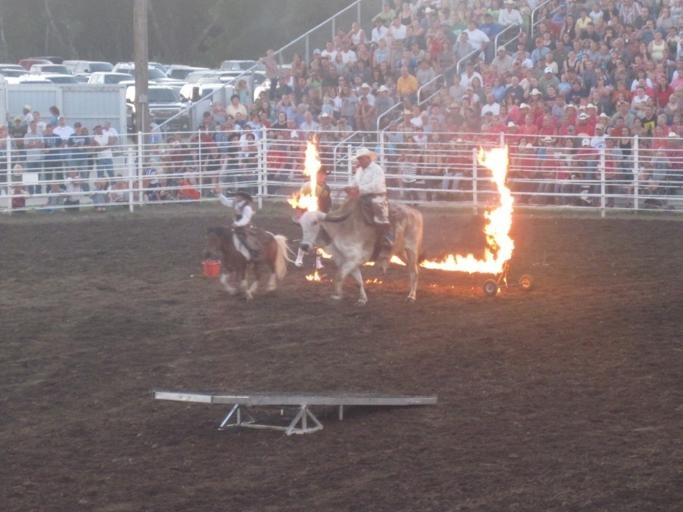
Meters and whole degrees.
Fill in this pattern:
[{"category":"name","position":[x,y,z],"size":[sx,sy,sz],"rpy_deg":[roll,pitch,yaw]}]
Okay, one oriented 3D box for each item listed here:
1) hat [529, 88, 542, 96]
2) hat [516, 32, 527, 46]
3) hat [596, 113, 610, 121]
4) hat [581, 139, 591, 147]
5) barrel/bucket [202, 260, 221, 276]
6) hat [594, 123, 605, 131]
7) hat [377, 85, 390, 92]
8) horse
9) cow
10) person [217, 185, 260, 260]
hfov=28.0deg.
[{"category":"hat","position":[5.319,-4.468,37.807],"size":[0.325,0.188,0.547],"rpy_deg":[2,9,8]},{"category":"hat","position":[5.140,-6.157,39.200],"size":[0.277,0.356,0.353],"rpy_deg":[-2,7,-2]},{"category":"hat","position":[6.944,-3.674,36.745],"size":[0.253,0.107,0.278],"rpy_deg":[0,-2,2]},{"category":"hat","position":[6.490,-2.970,36.563],"size":[0.183,0.154,0.295],"rpy_deg":[0,3,9]},{"category":"barrel/bucket","position":[-2.810,0.263,29.440],"size":[0.387,0.397,0.306],"rpy_deg":[1,4,31]},{"category":"hat","position":[6.836,-3.383,36.486],"size":[0.218,0.187,0.209],"rpy_deg":[3,9,13]},{"category":"hat","position":[1.223,-4.893,40.666],"size":[0.321,0.152,0.376],"rpy_deg":[-1,0,4]},{"category":"horse","position":[-1.969,0.105,28.963],"size":[1.972,1.437,0.619],"rpy_deg":[-11,6,-33]},{"category":"cow","position":[0.441,-0.143,28.356],"size":[2.733,2.136,0.864],"rpy_deg":[-3,9,-25]},{"category":"person","position":[-2.169,-0.659,28.953],"size":[0.616,1.343,1.051],"rpy_deg":[-2,9,-19]}]
